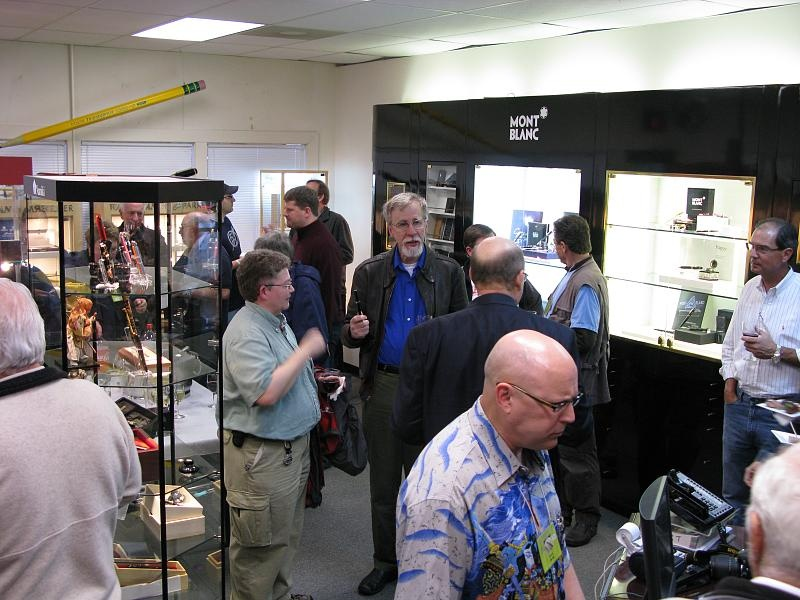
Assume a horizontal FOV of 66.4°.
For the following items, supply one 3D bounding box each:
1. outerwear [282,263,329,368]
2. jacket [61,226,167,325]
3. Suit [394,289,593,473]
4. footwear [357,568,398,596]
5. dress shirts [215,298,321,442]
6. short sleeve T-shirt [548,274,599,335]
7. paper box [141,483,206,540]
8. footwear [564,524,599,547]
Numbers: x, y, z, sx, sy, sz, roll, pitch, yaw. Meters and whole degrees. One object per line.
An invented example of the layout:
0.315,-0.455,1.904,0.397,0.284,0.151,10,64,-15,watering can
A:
-0.627,0.063,4.267,0.233,0.659,0.327,-12,27,-16,outerwear
-1.148,-0.114,2.470,0.375,0.360,0.088,5,5,5,jacket
0.462,0.445,3.108,0.971,0.995,0.521,1,13,0,Suit
-0.136,1.806,3.983,0.106,0.124,0.308,-2,-3,32,footwear
-0.717,0.402,3.407,0.504,0.710,0.858,2,10,4,dress shirts
1.214,0.039,4.190,0.172,0.316,0.322,10,16,-23,short sleeve T-shirt
-0.993,0.911,2.681,0.259,0.163,0.257,0,5,-38,paper box
1.364,1.710,4.528,0.162,0.179,0.452,-3,-7,28,footwear
